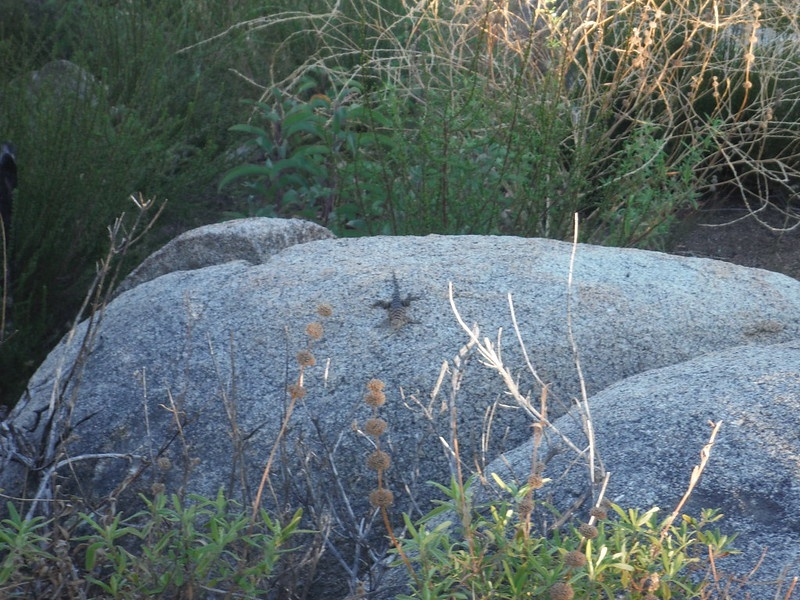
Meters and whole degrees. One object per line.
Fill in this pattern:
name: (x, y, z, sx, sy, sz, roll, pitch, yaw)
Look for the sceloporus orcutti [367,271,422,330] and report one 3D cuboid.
sceloporus orcutti: (-0.016, 0.013, 5.929, 0.163, 0.040, 0.232, -4, 49, 4)
